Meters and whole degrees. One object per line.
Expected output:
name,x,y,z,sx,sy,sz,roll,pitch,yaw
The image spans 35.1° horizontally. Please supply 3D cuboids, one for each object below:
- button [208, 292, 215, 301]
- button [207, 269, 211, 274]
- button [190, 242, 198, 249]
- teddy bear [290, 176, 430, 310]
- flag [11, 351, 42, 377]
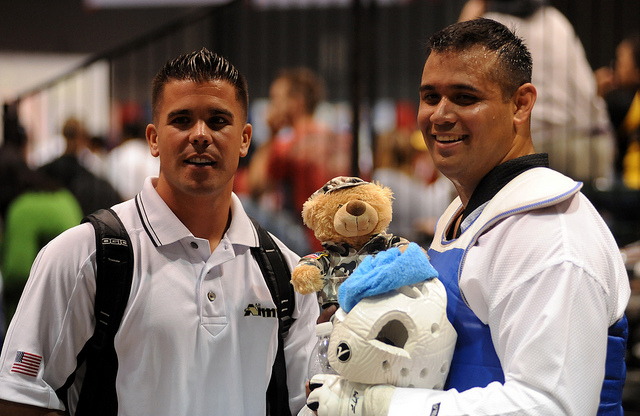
button,-0.734,0.594,6.819,0.038,0.059,0.014,0,0,-18
button,-0.754,0.429,6.855,0.022,0.023,0.005,1,11,-33
button,-0.854,0.255,6.870,0.046,0.046,0.009,0,-8,-14
teddy bear,0.099,0.233,7.002,1.005,1.203,0.771,-2,-11,-8
flag,-1.929,1.015,6.614,0.146,0.153,0.018,4,-7,-15
